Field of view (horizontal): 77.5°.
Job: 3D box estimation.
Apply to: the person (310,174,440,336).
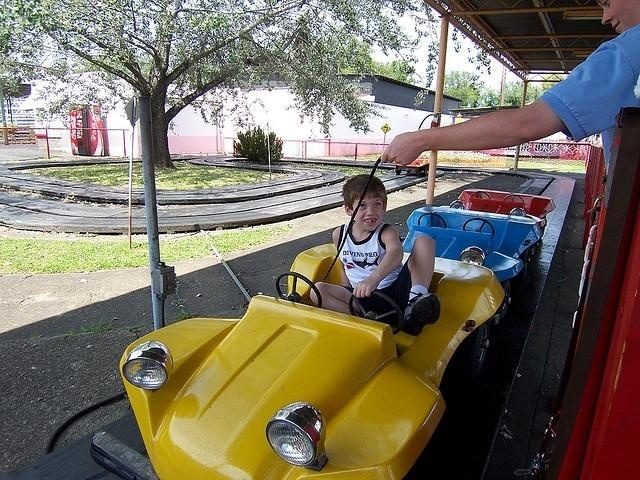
[{"bbox_3d":[0.302,0.060,2.381,0.613,0.954,0.932,-3,0,-30],"label":"person"}]
